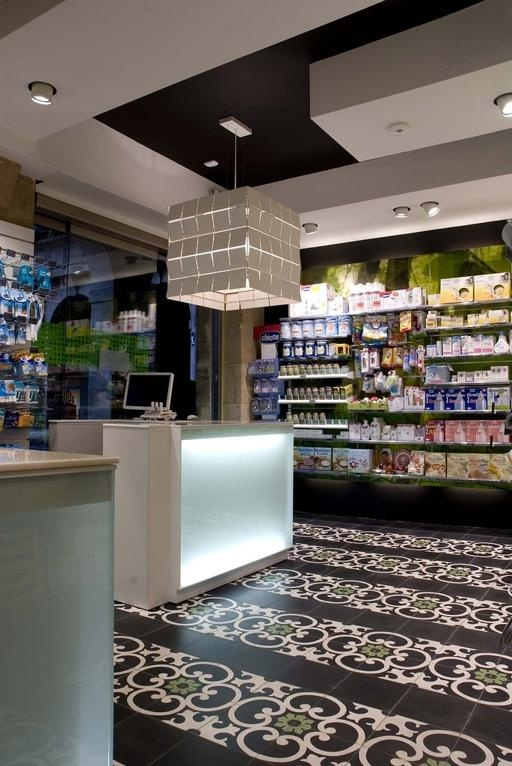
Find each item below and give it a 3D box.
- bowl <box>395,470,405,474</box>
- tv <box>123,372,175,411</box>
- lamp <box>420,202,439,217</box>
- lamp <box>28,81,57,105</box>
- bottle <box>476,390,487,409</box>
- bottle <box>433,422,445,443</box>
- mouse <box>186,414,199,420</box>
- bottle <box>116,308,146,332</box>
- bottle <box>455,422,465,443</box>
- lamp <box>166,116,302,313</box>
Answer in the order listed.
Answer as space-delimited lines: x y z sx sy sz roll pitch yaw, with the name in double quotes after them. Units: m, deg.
1.594 0.976 6.249 0.052 0.034 0.052 1 -1 0 "bowl"
-0.878 0.055 4.602 0.387 0.296 0.036 -1 -5 29 "tv"
1.691 -1.699 5.465 0.133 0.129 0.136 -5 -5 -16 "lamp"
-1.330 -1.823 3.534 0.094 0.061 0.096 5 7 36 "lamp"
2.293 0.164 5.764 0.104 0.215 0.037 -2 -5 22 "bottle"
1.942 0.512 5.992 0.111 0.222 0.072 0 -5 2 "bottle"
-0.508 0.276 4.619 0.079 0.042 0.125 0 1 9 "mouse"
-1.378 -0.703 6.258 0.232 0.243 0.221 1 0 30 "bottle"
2.126 0.508 5.897 0.104 0.226 0.030 -2 -5 20 "bottle"
-0.167 -0.997 4.452 0.829 0.726 0.834 -3 -5 33 "lamp"
